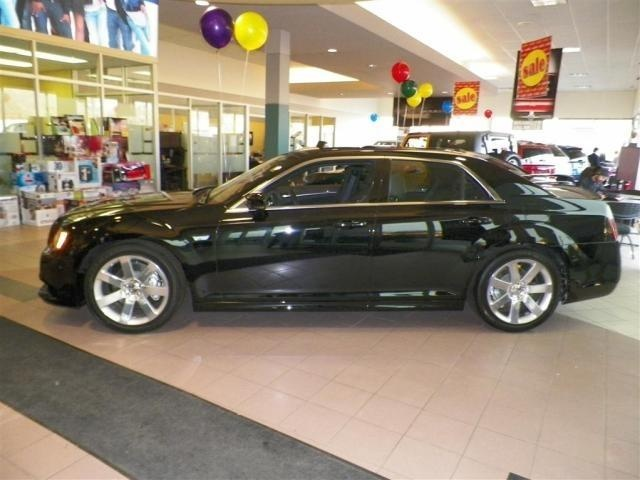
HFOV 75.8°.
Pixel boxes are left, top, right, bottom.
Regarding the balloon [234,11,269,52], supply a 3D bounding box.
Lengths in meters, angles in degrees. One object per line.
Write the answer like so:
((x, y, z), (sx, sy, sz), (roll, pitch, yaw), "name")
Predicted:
((-1.362, -4.111, 8.029), (0.626, 0.747, 0.514), (-4, 14, -8), "balloon")

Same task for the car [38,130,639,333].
((0.257, -0.093, 4.741), (6.658, 1.161, 2.088), (1, 4, -2), "car")

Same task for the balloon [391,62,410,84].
((2.471, -5.144, 12.485), (0.439, 0.656, 1.026), (1, 12, 14), "balloon")

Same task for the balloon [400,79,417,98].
((2.842, -4.860, 13.149), (0.746, 0.558, 0.616), (1, 5, 7), "balloon")

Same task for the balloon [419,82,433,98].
((3.756, -5.384, 14.702), (0.445, 0.511, 0.956), (0, 11, 10), "balloon")
